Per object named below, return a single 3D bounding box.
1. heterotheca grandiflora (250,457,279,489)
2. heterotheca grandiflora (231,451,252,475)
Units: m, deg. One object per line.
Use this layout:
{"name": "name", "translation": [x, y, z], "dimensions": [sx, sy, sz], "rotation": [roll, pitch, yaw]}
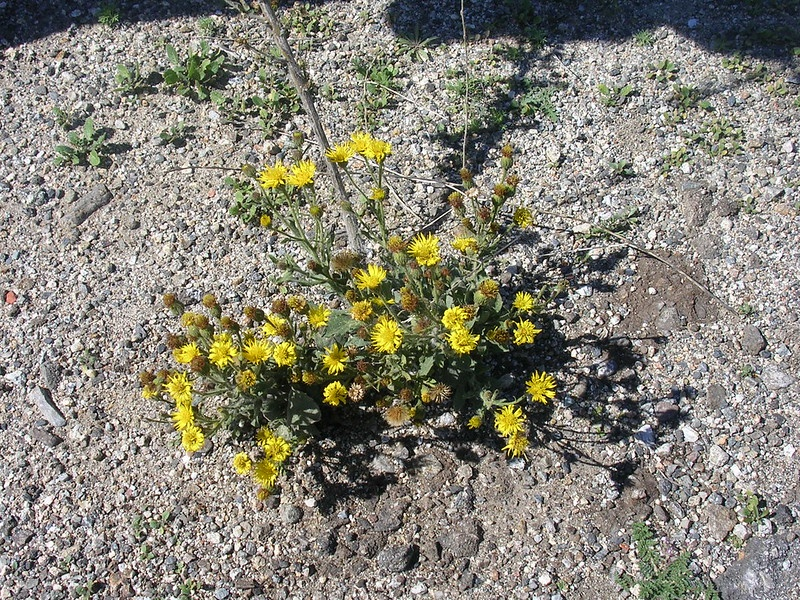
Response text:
{"name": "heterotheca grandiflora", "translation": [-0.845, 1.090, 5.127], "dimensions": [0.207, 0.094, 0.239], "rotation": [0, 86, 2]}
{"name": "heterotheca grandiflora", "translation": [-1.003, 1.023, 5.103], "dimensions": [0.168, 0.085, 0.190], "rotation": [1, 97, -3]}
